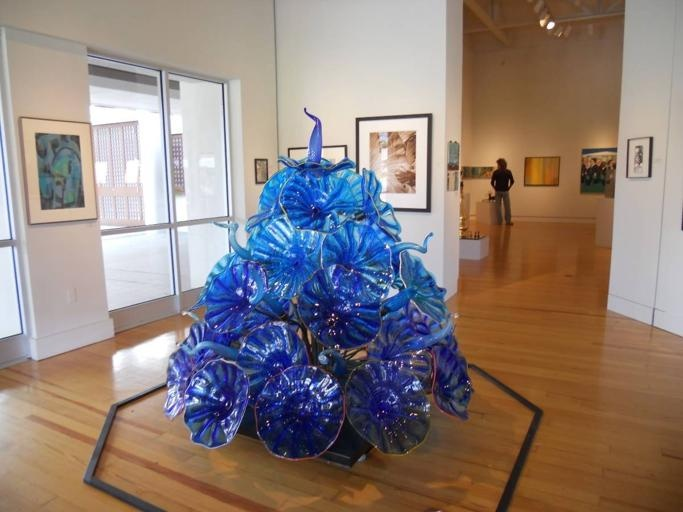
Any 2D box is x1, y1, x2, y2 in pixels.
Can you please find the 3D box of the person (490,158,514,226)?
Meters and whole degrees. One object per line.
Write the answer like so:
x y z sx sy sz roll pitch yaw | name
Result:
4.996 -2.023 14.778 0.652 2.024 1.542 3 13 20 | person
